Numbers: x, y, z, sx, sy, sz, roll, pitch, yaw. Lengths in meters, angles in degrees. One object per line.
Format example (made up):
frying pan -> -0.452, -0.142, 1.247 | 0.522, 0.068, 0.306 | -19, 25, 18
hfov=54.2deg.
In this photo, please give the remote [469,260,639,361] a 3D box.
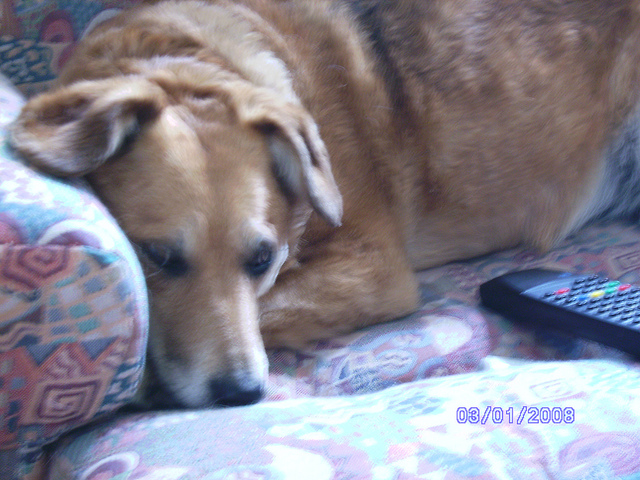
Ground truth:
remote -> 0.511, 0.128, 1.363 | 0.175, 0.053, 0.335 | -14, 23, -28
